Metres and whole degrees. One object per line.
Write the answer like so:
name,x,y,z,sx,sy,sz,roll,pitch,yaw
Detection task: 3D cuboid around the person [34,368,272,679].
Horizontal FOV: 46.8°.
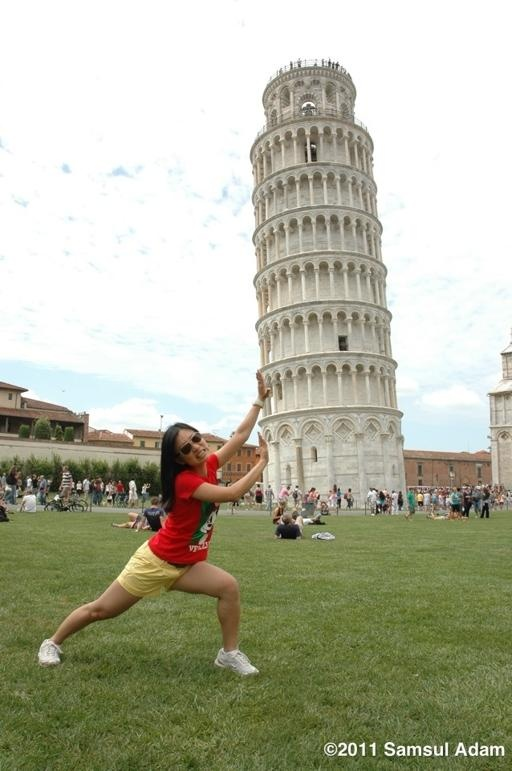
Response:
person,-0.557,0.897,4.196,1.233,2.125,0.865,2,-10,2

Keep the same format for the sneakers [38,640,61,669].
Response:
sneakers,-1.439,1.883,4.134,0.091,0.105,0.238,23,-18,-23

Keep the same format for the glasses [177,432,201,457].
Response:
glasses,-0.446,0.408,4.029,0.156,0.157,0.106,5,-11,-14

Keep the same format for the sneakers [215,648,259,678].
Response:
sneakers,-0.134,1.907,4.093,0.298,0.126,0.126,1,-8,31
